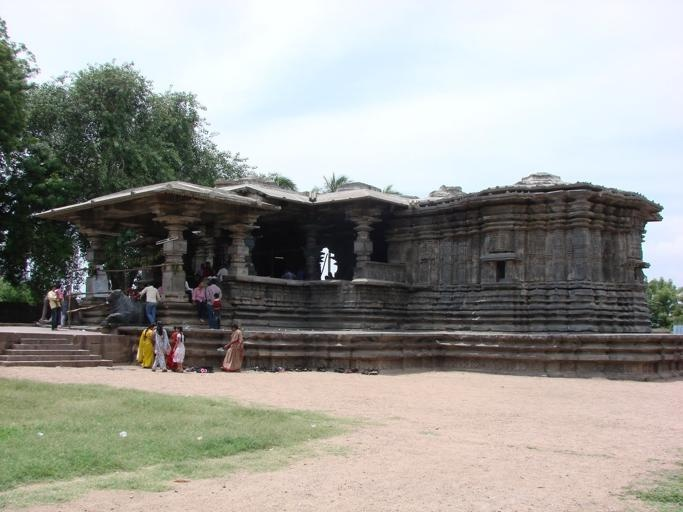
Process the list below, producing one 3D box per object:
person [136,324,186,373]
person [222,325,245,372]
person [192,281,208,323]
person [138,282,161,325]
[{"bbox_3d":[-3.861,1.929,14.171,0.616,0.844,1.178,4,1,-26],"label":"person"},{"bbox_3d":[-2.297,1.951,14.340,0.419,0.906,0.545,5,1,-7],"label":"person"},{"bbox_3d":[-3.611,1.155,17.171,0.347,0.912,0.449,6,1,8],"label":"person"},{"bbox_3d":[-4.681,1.138,16.298,0.569,1.031,0.431,1,-5,-27],"label":"person"}]
